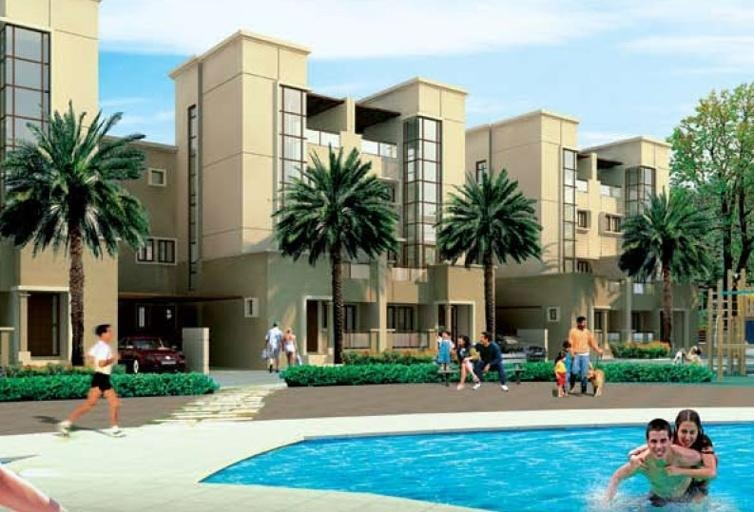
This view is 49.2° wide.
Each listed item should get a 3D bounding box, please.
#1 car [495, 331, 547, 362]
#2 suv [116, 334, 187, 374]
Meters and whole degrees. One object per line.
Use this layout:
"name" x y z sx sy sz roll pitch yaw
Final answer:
"car" 8.822 5.596 50.647 3.551 1.660 2.337 1 -1 -9
"suv" -10.030 4.364 36.836 1.733 1.670 3.643 4 -10 -39
